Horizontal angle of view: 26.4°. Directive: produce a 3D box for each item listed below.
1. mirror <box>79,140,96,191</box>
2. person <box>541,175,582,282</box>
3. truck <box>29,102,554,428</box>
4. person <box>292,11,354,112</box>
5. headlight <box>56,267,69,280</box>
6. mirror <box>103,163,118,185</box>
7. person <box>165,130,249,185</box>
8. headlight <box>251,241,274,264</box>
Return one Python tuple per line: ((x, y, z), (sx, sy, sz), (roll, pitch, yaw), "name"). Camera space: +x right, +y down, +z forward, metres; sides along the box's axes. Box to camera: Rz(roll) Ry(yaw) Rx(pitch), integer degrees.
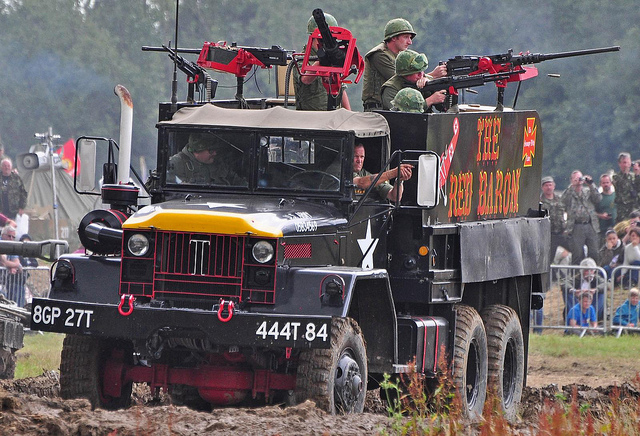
((-3.623, -0.821, 21.491), (0.245, 0.580, 0.322), (3, -2, -11), "mirror")
((5.836, 0.399, 33.954), (0.813, 2.412, 0.626), (-12, 13, 7), "person")
((-0.045, 0.506, 21.680), (8.273, 5.338, 3.486), (4, -3, -37), "truck")
((-0.070, -2.414, 23.106), (0.631, 0.861, 2.308), (-1, -42, 7), "person")
((-3.812, 0.834, 20.512), (0.174, 0.139, 0.041), (2, -2, 15), "headlight")
((-3.322, -0.694, 21.797), (0.222, 0.325, 0.108), (-1, 6, -10), "mirror")
((-1.829, -0.869, 21.294), (0.812, 0.601, 1.054), (4, -8, -33), "person")
((-0.860, 0.513, 20.142), (0.275, 0.307, 0.112), (2, -1, 2), "headlight")
